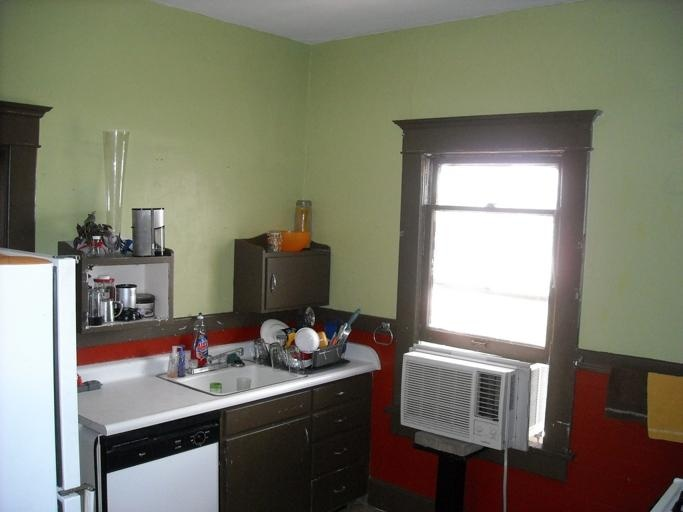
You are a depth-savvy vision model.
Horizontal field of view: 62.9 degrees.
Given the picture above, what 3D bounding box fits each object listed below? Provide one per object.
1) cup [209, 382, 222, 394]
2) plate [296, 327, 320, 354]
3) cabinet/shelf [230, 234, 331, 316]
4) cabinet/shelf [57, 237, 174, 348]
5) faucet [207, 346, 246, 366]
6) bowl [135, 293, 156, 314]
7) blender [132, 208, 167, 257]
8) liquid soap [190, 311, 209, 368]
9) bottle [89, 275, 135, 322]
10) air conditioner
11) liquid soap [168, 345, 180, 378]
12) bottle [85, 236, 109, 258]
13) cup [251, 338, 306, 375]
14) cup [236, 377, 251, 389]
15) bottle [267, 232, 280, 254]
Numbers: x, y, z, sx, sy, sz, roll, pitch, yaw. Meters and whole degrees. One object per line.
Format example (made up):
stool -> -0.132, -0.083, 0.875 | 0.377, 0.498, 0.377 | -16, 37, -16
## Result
cup -> -0.722, 0.768, 3.257 | 0.066, 0.073, 0.068 | 4, 4, 0
plate -> -0.195, 0.549, 3.623 | 0.194, 0.163, 0.131 | -2, 7, -29
cabinet/shelf -> -0.391, 0.142, 3.930 | 0.678, 0.517, 0.297 | -4, 8, -40
cabinet/shelf -> -1.213, 0.193, 3.166 | 0.509, 0.468, 0.305 | -3, 3, -44
faucet -> -0.727, 0.660, 3.657 | 0.085, 0.114, 0.287 | -2, -5, 34
bowl -> -1.116, 0.280, 3.223 | 0.100, 0.104, 0.103 | 1, 6, 0
blender -> -1.090, -0.134, 3.192 | 0.179, 0.268, 0.155 | -4, 10, -35
liquid soap -> -0.888, 0.521, 3.555 | 0.095, 0.315, 0.268 | 0, 6, -13
bottle -> -1.245, 0.257, 3.074 | 0.302, 0.303, 0.164 | 2, -3, -35
air conditioner -> 0.706, 0.786, 3.215 | 0.661, 0.426, 0.492 | 4, 3, 26
liquid soap -> -0.994, 0.630, 3.376 | 0.075, 0.182, 0.124 | -1, 6, -17
bottle -> -1.285, -0.049, 2.981 | 0.100, 0.091, 0.100 | -5, 11, -35
cup -> -0.398, 0.658, 3.705 | 0.445, 0.184, 0.143 | 6, 9, 36
cup -> -0.611, 0.805, 3.598 | 0.076, 0.080, 0.075 | 4, 12, -1
bottle -> -0.437, -0.096, 3.776 | 0.085, 0.125, 0.060 | 0, 6, -6
